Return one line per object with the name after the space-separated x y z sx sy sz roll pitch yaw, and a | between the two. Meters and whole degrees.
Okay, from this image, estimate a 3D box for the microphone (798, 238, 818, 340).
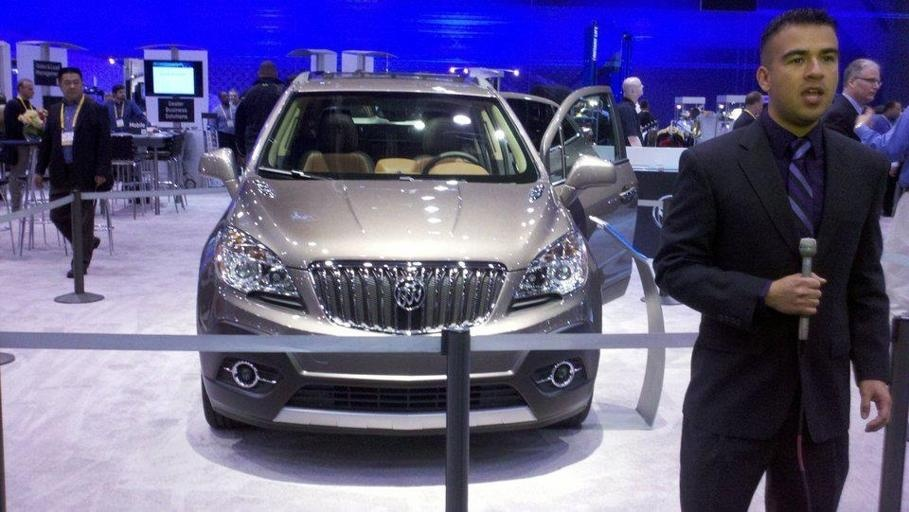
1.254 0.117 2.350 0.063 0.378 0.163 7 16 28 | microphone

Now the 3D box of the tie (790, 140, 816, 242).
1.272 -0.250 2.393 0.111 0.337 0.146 5 15 21 | tie

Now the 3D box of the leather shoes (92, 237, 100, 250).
-4.844 -0.171 8.874 0.139 0.184 0.069 -1 4 -4 | leather shoes

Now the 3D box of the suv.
-0.260 -0.285 4.792 2.330 1.291 2.990 1 10 -2 | suv

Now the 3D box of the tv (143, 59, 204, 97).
-7.378 -4.689 17.222 1.145 0.658 0.142 0 4 -4 | tv

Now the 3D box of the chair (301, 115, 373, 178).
-0.747 -0.780 4.732 0.426 0.507 0.555 1 -9 -2 | chair

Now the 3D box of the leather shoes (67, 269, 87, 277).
-4.146 0.186 7.237 0.103 0.099 0.247 -1 -6 11 | leather shoes
